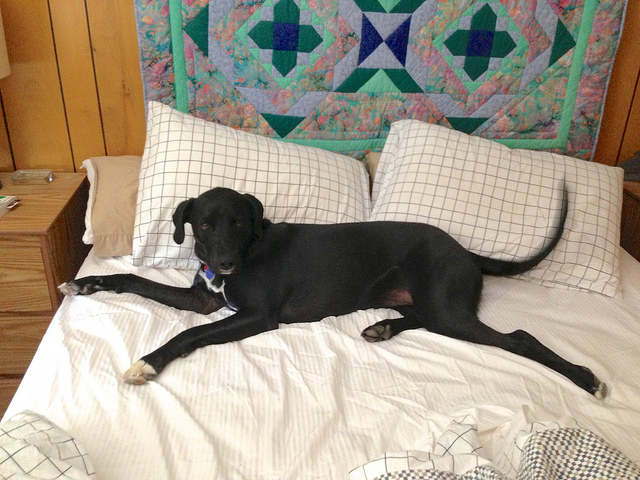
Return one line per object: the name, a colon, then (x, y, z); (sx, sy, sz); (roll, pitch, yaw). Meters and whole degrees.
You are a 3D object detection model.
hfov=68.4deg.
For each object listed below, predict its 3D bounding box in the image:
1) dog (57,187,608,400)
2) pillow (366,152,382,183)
dog: (-0.005, 0.226, 2.135); (2.300, 0.844, 0.634); (0, 12, 9)
pillow: (0.310, -0.426, 2.768); (0.057, 0.149, 0.136); (7, 1, -31)
